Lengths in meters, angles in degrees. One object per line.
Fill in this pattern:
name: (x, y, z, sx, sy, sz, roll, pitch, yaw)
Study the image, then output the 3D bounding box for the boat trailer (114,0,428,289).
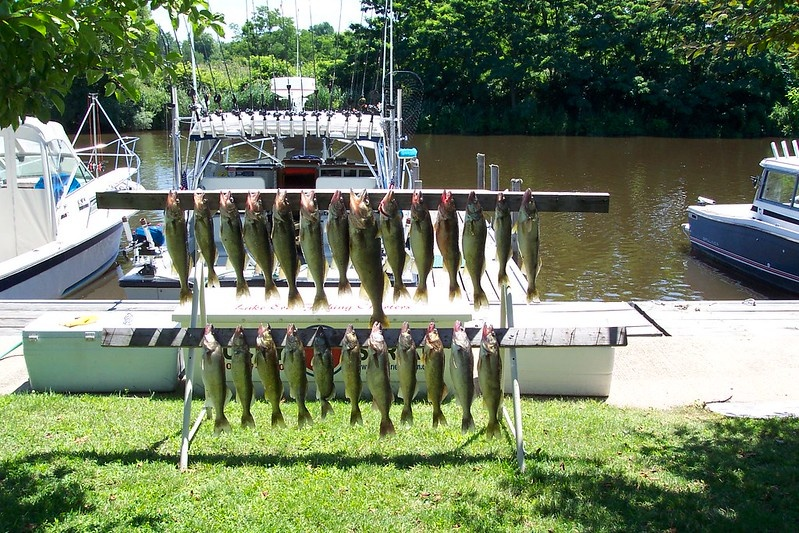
boat trailer: (-1.851, -2.115, 13.342, 4.192, 3.989, 7.721, 0, 10, 3)

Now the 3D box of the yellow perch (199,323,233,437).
yellow perch: (-1.808, 1.143, 6.890, 0.239, 1.156, 0.283, -3, 11, -16)

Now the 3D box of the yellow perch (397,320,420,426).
yellow perch: (0.091, 1.013, 6.715, 0.264, 0.966, 0.207, 1, 2, 9)

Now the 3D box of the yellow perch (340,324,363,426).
yellow perch: (-0.443, 1.029, 6.730, 0.251, 0.926, 0.226, -1, 2, 0)

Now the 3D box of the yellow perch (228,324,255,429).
yellow perch: (-1.542, 1.068, 6.825, 0.205, 1.024, 0.255, -3, 11, -16)

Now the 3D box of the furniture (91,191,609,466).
furniture: (-0.445, 0.734, 6.783, 4.380, 2.769, 2.057, 0, -10, -8)

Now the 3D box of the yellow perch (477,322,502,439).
yellow perch: (0.882, 1.102, 6.845, 0.245, 1.070, 0.287, 2, 11, 7)
